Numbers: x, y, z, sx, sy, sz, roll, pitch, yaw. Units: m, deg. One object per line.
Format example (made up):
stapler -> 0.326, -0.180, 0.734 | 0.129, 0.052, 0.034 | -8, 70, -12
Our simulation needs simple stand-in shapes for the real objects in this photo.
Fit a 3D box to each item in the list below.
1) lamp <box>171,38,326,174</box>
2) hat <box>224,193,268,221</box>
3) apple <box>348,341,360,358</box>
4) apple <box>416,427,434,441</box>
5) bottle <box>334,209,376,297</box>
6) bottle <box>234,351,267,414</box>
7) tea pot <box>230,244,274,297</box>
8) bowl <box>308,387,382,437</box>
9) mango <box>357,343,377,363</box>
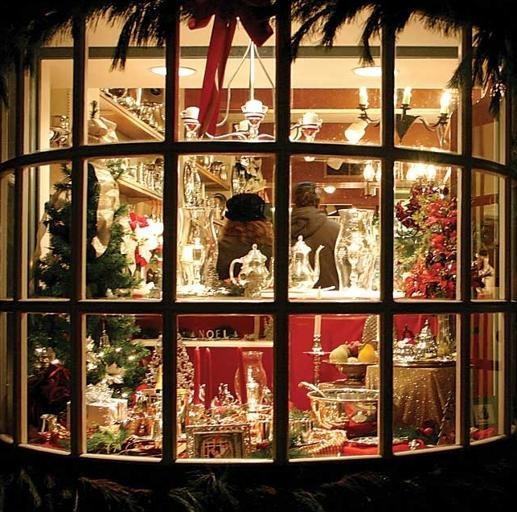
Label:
lamp -> -0.030, -0.682, 3.321 | 0.569, 0.559, 0.605 | 1, 2, 3
hat -> -0.045, -0.177, 3.088 | 0.158, 0.101, 0.116 | 0, -5, -11
apple -> 0.361, 0.354, 3.151 | 0.056, 0.052, 0.051 | -3, 2, -36
apple -> 0.569, 0.602, 2.841 | 0.058, 0.043, 0.042 | -2, -3, 21
bottle -> 0.327, -0.021, 2.807 | 0.144, 0.274, 0.107 | -2, -6, 4
bottle -> -0.026, 0.423, 2.852 | 0.093, 0.188, 0.087 | -1, -6, 0
tea pot -> -0.023, 0.049, 2.779 | 0.163, 0.148, 0.100 | 1, 5, 1
bowl -> 0.308, 0.545, 2.941 | 0.243, 0.085, 0.202 | -2, -2, 22
mango -> 0.424, 0.367, 3.165 | 0.069, 0.071, 0.160 | -3, -5, 23
